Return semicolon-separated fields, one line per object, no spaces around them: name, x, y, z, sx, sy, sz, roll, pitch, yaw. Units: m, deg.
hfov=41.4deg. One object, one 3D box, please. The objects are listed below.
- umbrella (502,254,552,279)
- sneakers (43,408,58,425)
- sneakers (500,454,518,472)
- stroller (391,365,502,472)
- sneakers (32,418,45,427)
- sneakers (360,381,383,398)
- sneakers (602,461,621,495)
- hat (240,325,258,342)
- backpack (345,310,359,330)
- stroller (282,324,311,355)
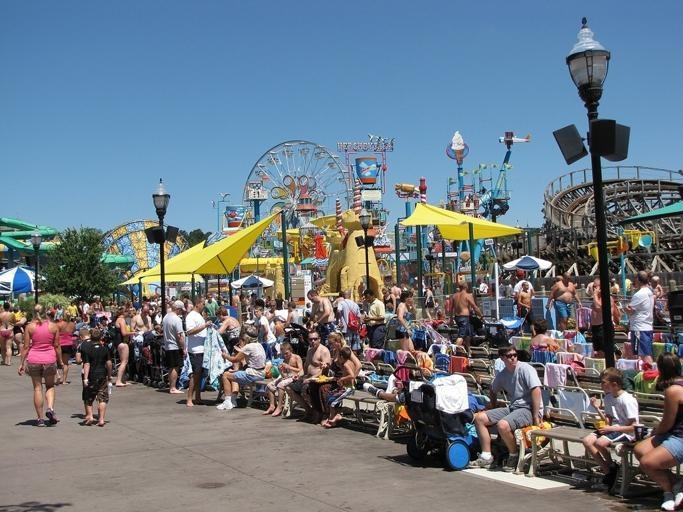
umbrella;8.510;0.508;40.976;1.402;0.563;1.410;4;-4;-14
sneakers;-5.157;2.879;16.149;0.170;0.171;0.361;-6;-49;3
sneakers;2.333;2.900;12.559;0.113;0.150;0.331;-5;-12;25
stroller;1.633;2.408;13.324;1.317;1.191;0.993;6;-3;-33
sneakers;-5.365;2.977;16.191;0.120;0.129;0.297;1;-2;-20
sneakers;0.567;2.227;14.849;0.161;0.151;0.440;-3;11;-31
sneakers;3.451;2.842;11.637;0.166;0.401;0.133;8;11;26
hat;-1.794;1.506;17.780;0.273;0.263;0.317;-3;10;-17
backpack;0.278;1.518;21.171;0.295;0.418;0.151;10;-22;-29
stroller;-0.880;1.767;19.554;0.534;0.760;0.716;2;-13;-19
